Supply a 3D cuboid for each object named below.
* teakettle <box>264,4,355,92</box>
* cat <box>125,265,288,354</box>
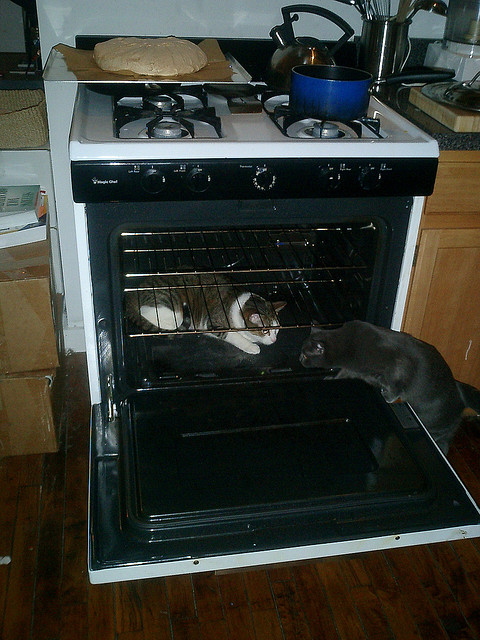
[{"bbox_3d":[0.165,-0.667,1.198,0.187,0.185,0.244,17,36,18],"label":"teakettle"},{"bbox_3d":[-0.082,-0.042,1.214,0.393,0.234,0.199,-4,35,-13],"label":"cat"}]
